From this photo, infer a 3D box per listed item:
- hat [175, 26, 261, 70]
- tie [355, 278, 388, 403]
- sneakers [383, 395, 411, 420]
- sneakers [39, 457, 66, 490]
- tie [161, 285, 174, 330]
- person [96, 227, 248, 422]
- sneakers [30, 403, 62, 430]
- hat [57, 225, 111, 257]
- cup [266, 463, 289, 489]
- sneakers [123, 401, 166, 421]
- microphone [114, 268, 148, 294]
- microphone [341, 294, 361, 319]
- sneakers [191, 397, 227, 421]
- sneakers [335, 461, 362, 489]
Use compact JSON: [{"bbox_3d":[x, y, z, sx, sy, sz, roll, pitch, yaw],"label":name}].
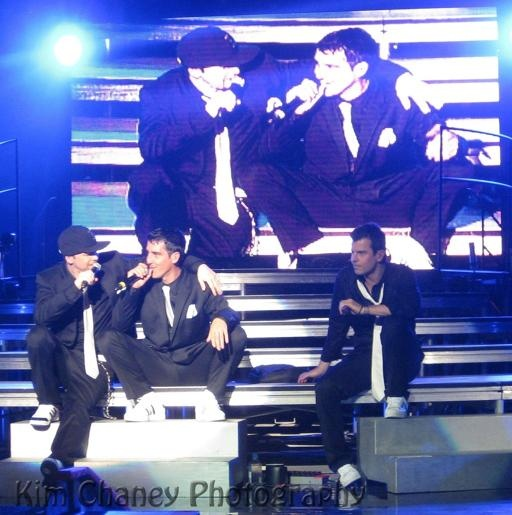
[{"bbox_3d":[-0.401,-1.817,10.105,0.568,0.216,0.380,-1,31,3],"label":"hat"},{"bbox_3d":[0.776,0.579,7.548,0.211,0.650,0.049,4,-7,-10],"label":"tie"},{"bbox_3d":[0.891,0.960,7.321,0.114,0.118,0.323,-1,-9,7],"label":"sneakers"},{"bbox_3d":[-1.246,1.320,6.999,0.147,0.218,0.218,2,-3,-2],"label":"sneakers"},{"bbox_3d":[-0.580,0.334,7.529,0.056,0.286,0.041,-10,-15,-1],"label":"tie"},{"bbox_3d":[-0.567,0.545,7.908,1.062,1.429,1.122,0,-5,-1],"label":"person"},{"bbox_3d":[-1.339,1.017,7.261,0.192,0.164,0.097,-1,-5,-10],"label":"sneakers"},{"bbox_3d":[-1.140,-0.096,7.542,0.286,0.155,0.189,-7,13,-2],"label":"hat"},{"bbox_3d":[0.130,1.413,7.404,0.161,0.136,0.192,-2,-5,1],"label":"cup"},{"bbox_3d":[-0.706,0.994,7.328,0.202,0.089,0.121,6,-11,-16],"label":"sneakers"},{"bbox_3d":[-0.795,0.154,7.407,0.229,0.126,0.059,-41,-8,12],"label":"microphone"},{"bbox_3d":[0.626,0.332,7.527,0.133,0.065,0.175,2,6,-4],"label":"microphone"},{"bbox_3d":[-0.299,0.984,7.298,0.193,0.123,0.103,-1,-4,27],"label":"sneakers"},{"bbox_3d":[0.561,1.358,7.118,0.119,0.164,0.159,-1,11,-6],"label":"sneakers"}]
